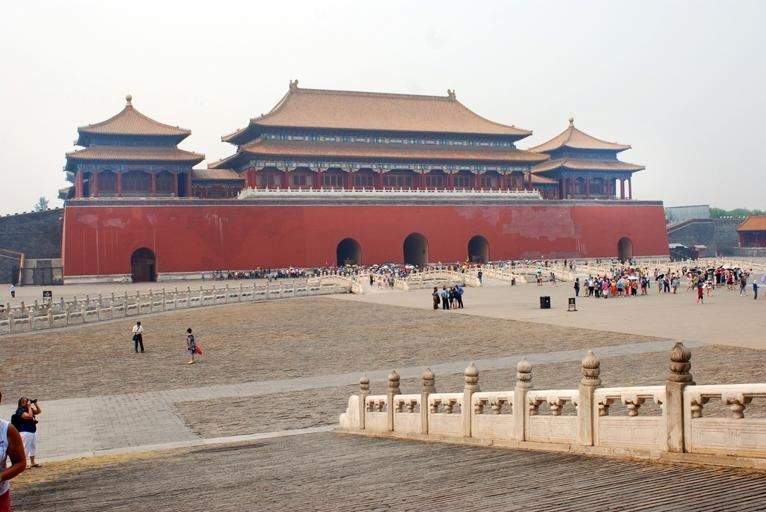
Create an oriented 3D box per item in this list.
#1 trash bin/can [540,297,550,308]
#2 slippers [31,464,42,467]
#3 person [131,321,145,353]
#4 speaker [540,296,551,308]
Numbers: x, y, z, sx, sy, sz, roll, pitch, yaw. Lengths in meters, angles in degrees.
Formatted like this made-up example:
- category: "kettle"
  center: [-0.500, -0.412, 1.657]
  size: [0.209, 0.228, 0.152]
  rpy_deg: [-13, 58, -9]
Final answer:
- category: "trash bin/can"
  center: [5.803, 1.664, 33.628]
  size: [0.386, 0.356, 0.197]
  rpy_deg: [1, -7, -24]
- category: "slippers"
  center: [-6.345, 3.834, 17.212]
  size: [0.129, 0.038, 0.054]
  rpy_deg: [-4, -4, 24]
- category: "person"
  center: [-6.908, 2.286, 26.716]
  size: [0.295, 0.882, 1.178]
  rpy_deg: [1, -4, -14]
- category: "speaker"
  center: [5.817, 1.665, 33.697]
  size: [0.393, 0.360, 0.194]
  rpy_deg: [1, -8, -17]
